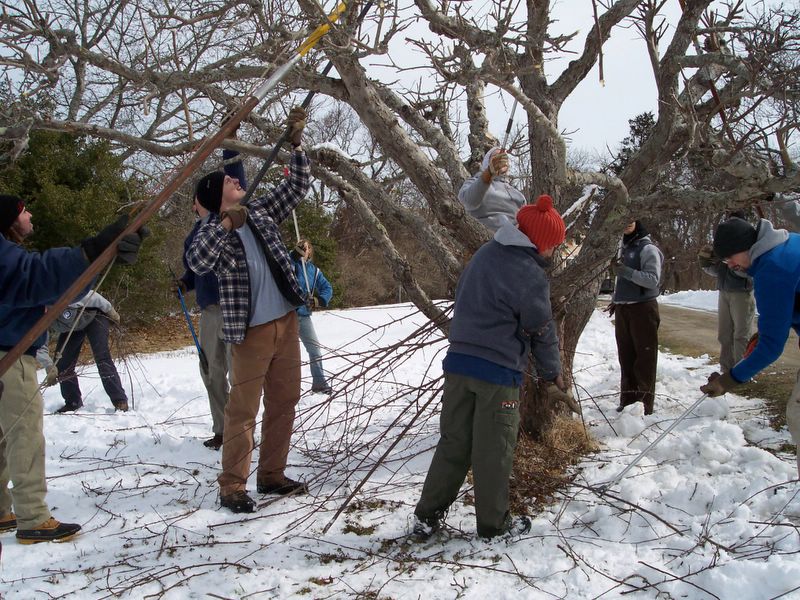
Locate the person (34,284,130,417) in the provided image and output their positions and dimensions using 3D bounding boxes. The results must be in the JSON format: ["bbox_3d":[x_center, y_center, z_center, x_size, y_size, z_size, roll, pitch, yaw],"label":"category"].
[{"bbox_3d":[-3.548,0.642,6.880,1.035,1.558,0.678,10,-36,-32],"label":"person"}]

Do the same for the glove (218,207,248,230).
[{"bbox_3d":[-1.313,-0.647,4.899,0.189,0.155,0.093,4,-25,36],"label":"glove"}]

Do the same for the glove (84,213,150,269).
[{"bbox_3d":[-1.923,-0.388,4.274,0.469,0.268,0.187,-39,-2,-4],"label":"glove"}]

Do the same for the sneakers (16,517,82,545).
[{"bbox_3d":[-2.666,1.725,4.752,0.433,0.221,0.190,-2,-3,-11],"label":"sneakers"}]

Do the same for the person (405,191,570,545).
[{"bbox_3d":[0.665,0.497,4.559,1.120,2.470,0.569,-2,11,0],"label":"person"}]

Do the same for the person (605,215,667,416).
[{"bbox_3d":[2.629,0.157,6.952,0.560,2.153,1.289,3,13,23],"label":"person"}]

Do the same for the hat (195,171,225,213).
[{"bbox_3d":[-1.611,-0.889,5.271,0.310,0.339,0.240,10,2,-31],"label":"hat"}]

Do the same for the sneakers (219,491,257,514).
[{"bbox_3d":[-1.317,1.614,5.013,0.272,0.129,0.137,1,1,22],"label":"sneakers"}]

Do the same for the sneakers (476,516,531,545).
[{"bbox_3d":[0.829,1.701,4.615,0.266,0.074,0.199,-24,-3,39],"label":"sneakers"}]

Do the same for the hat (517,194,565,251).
[{"bbox_3d":[1.054,-0.615,4.583,0.296,0.377,0.403,-4,32,-6],"label":"hat"}]

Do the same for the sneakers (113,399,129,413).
[{"bbox_3d":[-3.356,1.272,7.449,0.124,0.152,0.162,0,-20,-10],"label":"sneakers"}]
